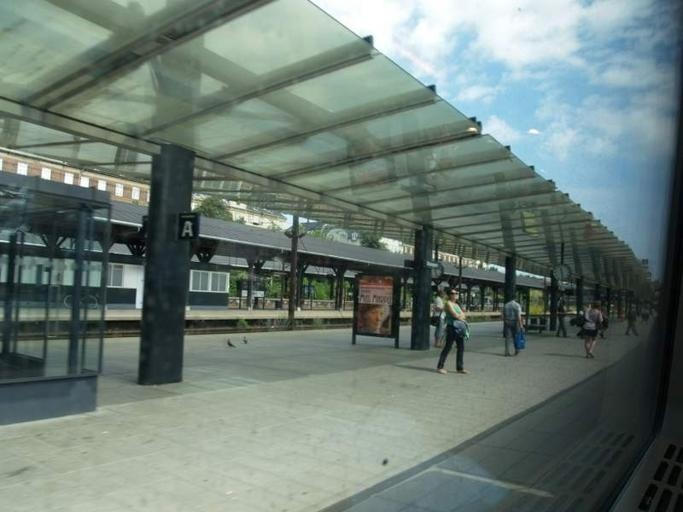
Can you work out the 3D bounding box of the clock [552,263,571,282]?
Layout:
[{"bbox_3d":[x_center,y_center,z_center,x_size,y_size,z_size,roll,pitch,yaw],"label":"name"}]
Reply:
[{"bbox_3d":[1.219,0.087,3.194,0.028,0.101,0.111,5,-13,-41],"label":"clock"}]
